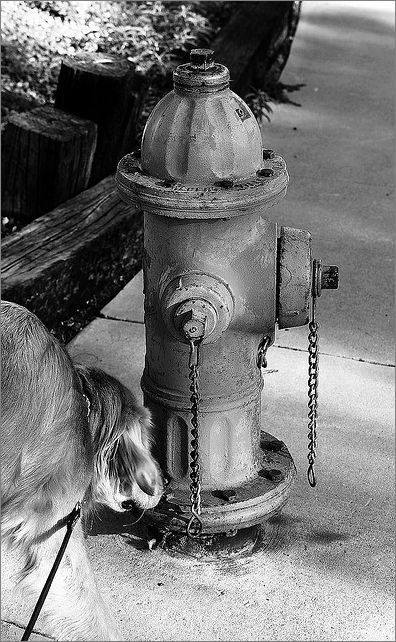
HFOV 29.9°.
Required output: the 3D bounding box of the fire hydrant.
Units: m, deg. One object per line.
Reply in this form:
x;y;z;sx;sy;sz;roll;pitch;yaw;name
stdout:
0.066;0.014;1.998;0.574;1.376;0.423;-2;12;-27;fire hydrant
